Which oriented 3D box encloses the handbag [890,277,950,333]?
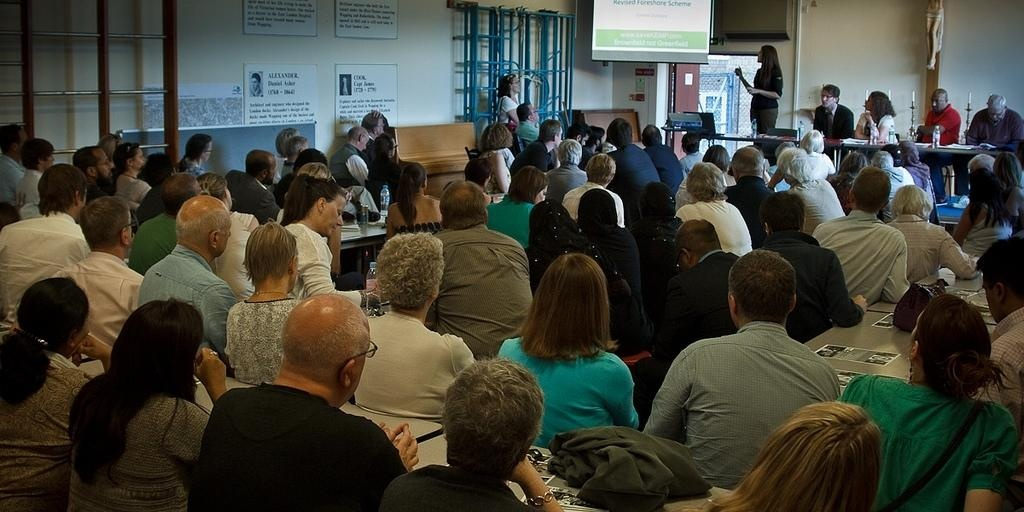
[{"bbox_3d":[2.751,0.333,4.473,0.137,0.217,0.362,13,21,40],"label":"handbag"}]

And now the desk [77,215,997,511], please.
[{"bbox_3d":[1.045,0.484,4.398,3.270,1.297,2.367,4,9,21],"label":"desk"}]

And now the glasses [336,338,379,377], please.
[{"bbox_3d":[-0.750,0.533,3.302,0.170,0.051,0.178,5,28,43],"label":"glasses"}]

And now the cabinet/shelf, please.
[{"bbox_3d":[-1.231,-1.396,9.672,0.700,1.054,1.612,11,17,43],"label":"cabinet/shelf"}]

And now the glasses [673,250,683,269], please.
[{"bbox_3d":[1.395,0.033,5.541,0.052,0.172,0.169,3,-5,3],"label":"glasses"}]
